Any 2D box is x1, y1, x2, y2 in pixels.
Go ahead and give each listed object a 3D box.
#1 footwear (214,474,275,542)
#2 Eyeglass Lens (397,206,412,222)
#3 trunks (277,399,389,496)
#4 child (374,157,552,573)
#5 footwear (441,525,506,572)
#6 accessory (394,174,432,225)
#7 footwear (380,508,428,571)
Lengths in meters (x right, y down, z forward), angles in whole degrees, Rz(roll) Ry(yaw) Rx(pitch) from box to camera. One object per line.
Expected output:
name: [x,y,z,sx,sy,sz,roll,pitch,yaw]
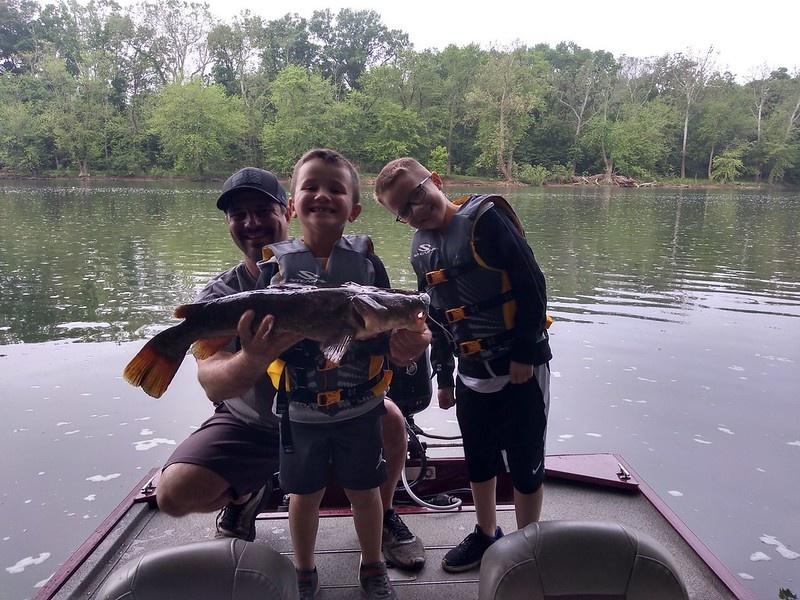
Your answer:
footwear: [-0.932,1.210,3.436,0.170,0.454,0.283,19,-37,-6]
Eyeglass Lens: [0.027,-0.545,3.693,0.025,0.081,0.081,-13,-21,10]
trunks: [-0.313,0.821,3.347,0.716,0.657,0.402,-1,-30,0]
child: [0.496,0.389,3.716,0.917,2.491,0.928,-5,-3,20]
footwear: [0.443,1.445,3.477,0.451,0.191,0.161,-7,9,-23]
accessory: [0.139,-0.639,3.701,0.266,0.081,0.268,-27,29,55]
footwear: [-0.020,1.422,3.577,0.226,0.189,0.537,5,4,-31]
